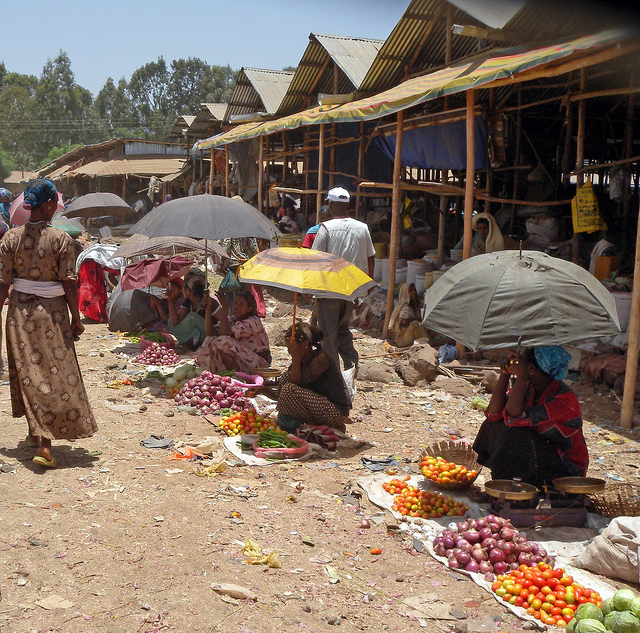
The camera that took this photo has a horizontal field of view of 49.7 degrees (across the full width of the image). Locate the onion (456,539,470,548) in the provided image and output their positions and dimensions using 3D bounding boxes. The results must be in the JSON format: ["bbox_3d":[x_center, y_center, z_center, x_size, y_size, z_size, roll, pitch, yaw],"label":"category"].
[{"bbox_3d":[0.871,1.374,4.191,0.065,0.058,0.055,6,-19,-2],"label":"onion"}]

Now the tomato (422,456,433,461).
[{"bbox_3d":[0.832,1.089,5.318,0.049,0.042,0.039,-3,-5,-16],"label":"tomato"}]

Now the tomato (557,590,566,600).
[{"bbox_3d":[1.313,1.513,3.762,0.046,0.040,0.040,0,8,-20],"label":"tomato"}]

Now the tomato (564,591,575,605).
[{"bbox_3d":[1.358,1.526,3.754,0.063,0.057,0.053,8,-25,0],"label":"tomato"}]

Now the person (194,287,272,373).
[{"bbox_3d":[-1.068,0.263,8.114,1.133,1.048,0.841,5,-9,-20],"label":"person"}]

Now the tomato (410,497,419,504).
[{"bbox_3d":[0.658,1.280,4.809,0.045,0.028,0.039,1,-4,9],"label":"tomato"}]

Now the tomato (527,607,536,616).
[{"bbox_3d":[1.133,1.581,3.714,0.039,0.034,0.034,7,-6,7],"label":"tomato"}]

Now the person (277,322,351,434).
[{"bbox_3d":[-0.022,0.588,6.198,0.693,1.056,0.362,2,13,-8],"label":"person"}]

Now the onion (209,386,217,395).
[{"bbox_3d":[-1.074,0.750,6.983,0.086,0.064,0.079,0,0,23],"label":"onion"}]

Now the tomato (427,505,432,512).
[{"bbox_3d":[0.753,1.309,4.734,0.032,0.037,0.032,3,12,-6],"label":"tomato"}]

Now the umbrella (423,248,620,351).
[{"bbox_3d":[1.201,-0.110,4.379,0.953,0.303,0.931,12,22,38],"label":"umbrella"}]

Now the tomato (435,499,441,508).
[{"bbox_3d":[0.812,1.279,4.734,0.030,0.049,0.026,14,-28,42],"label":"tomato"}]

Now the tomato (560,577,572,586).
[{"bbox_3d":[1.376,1.477,3.863,0.046,0.034,0.051,14,2,-10],"label":"tomato"}]

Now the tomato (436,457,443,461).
[{"bbox_3d":[0.915,1.084,5.285,0.038,0.033,0.033,2,3,12],"label":"tomato"}]

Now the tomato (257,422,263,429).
[{"bbox_3d":[-0.535,0.969,6.144,0.042,0.038,0.041,-18,18,-42],"label":"tomato"}]

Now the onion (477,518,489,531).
[{"bbox_3d":[1.002,1.282,4.297,0.070,0.059,0.060,0,-4,0],"label":"onion"}]

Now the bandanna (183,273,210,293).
[{"bbox_3d":[-1.534,-0.422,8.617,0.277,0.201,0.254,1,8,6],"label":"bandanna"}]

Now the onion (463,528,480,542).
[{"bbox_3d":[0.930,1.335,4.224,0.073,0.058,0.033,-4,34,7],"label":"onion"}]

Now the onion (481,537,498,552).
[{"bbox_3d":[1.018,1.357,4.138,0.086,0.089,0.080,36,-45,-15],"label":"onion"}]

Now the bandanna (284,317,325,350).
[{"bbox_3d":[-0.119,0.150,6.143,0.397,0.201,0.223,15,3,-7],"label":"bandanna"}]

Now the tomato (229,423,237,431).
[{"bbox_3d":[-0.771,0.980,6.191,0.060,0.040,0.068,0,11,-16],"label":"tomato"}]

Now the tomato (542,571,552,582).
[{"bbox_3d":[1.273,1.454,3.882,0.044,0.035,0.043,16,21,37],"label":"tomato"}]

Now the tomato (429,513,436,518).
[{"bbox_3d":[0.763,1.345,4.684,0.044,0.027,0.026,5,12,10],"label":"tomato"}]

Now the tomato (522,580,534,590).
[{"bbox_3d":[1.162,1.495,3.863,0.053,0.038,0.044,2,9,-1],"label":"tomato"}]

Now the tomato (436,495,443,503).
[{"bbox_3d":[0.826,1.249,4.775,0.047,0.042,0.040,2,-22,-3],"label":"tomato"}]

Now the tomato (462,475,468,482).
[{"bbox_3d":[1.048,1.168,5.001,0.045,0.040,0.038,3,-19,10],"label":"tomato"}]

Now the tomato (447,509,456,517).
[{"bbox_3d":[0.887,1.325,4.671,0.047,0.036,0.044,5,37,-2],"label":"tomato"}]

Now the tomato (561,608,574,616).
[{"bbox_3d":[1.315,1.565,3.673,0.053,0.042,0.039,4,45,-3],"label":"tomato"}]

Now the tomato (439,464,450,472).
[{"bbox_3d":[0.921,1.118,5.103,0.058,0.041,0.050,5,-2,-20],"label":"tomato"}]

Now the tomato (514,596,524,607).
[{"bbox_3d":[1.087,1.559,3.787,0.045,0.040,0.038,0,-7,-4],"label":"tomato"}]

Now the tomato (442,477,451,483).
[{"bbox_3d":[0.914,1.177,4.985,0.060,0.034,0.049,5,11,8],"label":"tomato"}]

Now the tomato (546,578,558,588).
[{"bbox_3d":[1.288,1.475,3.838,0.047,0.045,0.046,20,21,27],"label":"tomato"}]

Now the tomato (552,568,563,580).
[{"bbox_3d":[1.340,1.444,3.891,0.056,0.037,0.041,-32,-56,30],"label":"tomato"}]

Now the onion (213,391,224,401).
[{"bbox_3d":[-1.016,0.796,6.942,0.091,0.072,0.109,-1,11,-22],"label":"onion"}]

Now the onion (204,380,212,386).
[{"bbox_3d":[-1.134,0.674,7.051,0.064,0.046,0.062,-2,12,-25],"label":"onion"}]

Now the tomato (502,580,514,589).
[{"bbox_3d":[1.057,1.502,3.890,0.045,0.039,0.039,2,19,-12],"label":"tomato"}]
